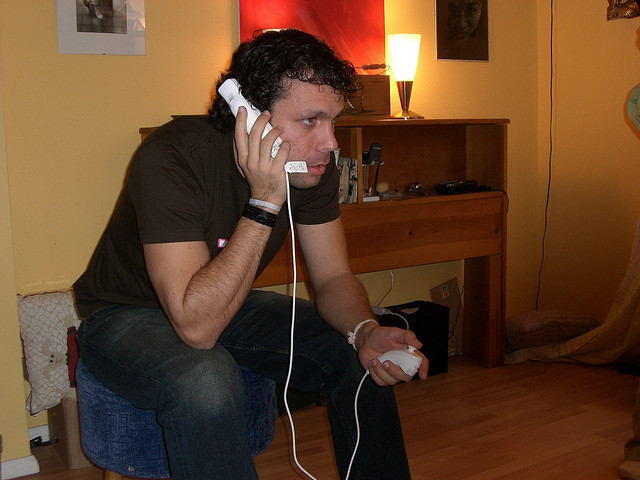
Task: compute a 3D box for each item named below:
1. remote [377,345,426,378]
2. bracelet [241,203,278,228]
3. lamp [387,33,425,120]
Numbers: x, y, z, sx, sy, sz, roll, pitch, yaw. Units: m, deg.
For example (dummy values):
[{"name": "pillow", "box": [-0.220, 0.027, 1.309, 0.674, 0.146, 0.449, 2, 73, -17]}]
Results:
[{"name": "remote", "box": [0.220, 0.318, 1.488, 0.119, 0.059, 0.066, 13, 29, 31]}, {"name": "bracelet", "box": [-0.165, -0.068, 1.513, 0.068, 0.030, 0.064, 19, -5, -12]}, {"name": "lamp", "box": [0.438, -0.851, 2.825, 0.162, 0.441, 0.236, -1, 11, 6]}]
